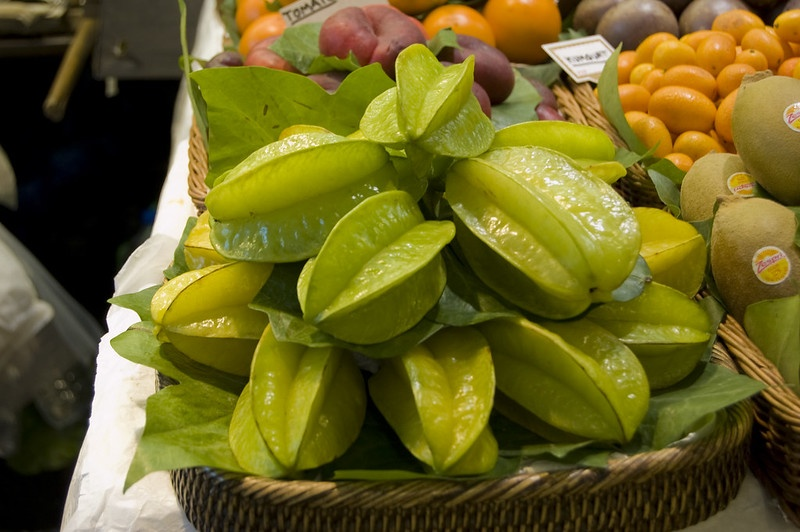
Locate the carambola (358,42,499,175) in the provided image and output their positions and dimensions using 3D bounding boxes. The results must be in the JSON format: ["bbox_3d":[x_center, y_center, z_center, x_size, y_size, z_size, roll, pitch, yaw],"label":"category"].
[{"bbox_3d":[0.045,-0.236,1.180,0.174,0.086,0.225,-21,73,-19],"label":"carambola"}]

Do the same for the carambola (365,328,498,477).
[{"bbox_3d":[0.071,0.203,1.096,0.145,0.063,0.226,-10,67,-2],"label":"carambola"}]

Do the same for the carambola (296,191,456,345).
[{"bbox_3d":[-0.029,0.008,1.141,0.238,0.192,0.107,-16,33,-35],"label":"carambola"}]

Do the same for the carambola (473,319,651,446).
[{"bbox_3d":[0.240,0.161,1.162,0.233,0.168,0.095,29,9,7],"label":"carambola"}]

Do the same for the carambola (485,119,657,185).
[{"bbox_3d":[0.277,-0.204,1.278,0.159,0.062,0.136,7,30,-15],"label":"carambola"}]

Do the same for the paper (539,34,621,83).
[{"bbox_3d":[0.443,-0.513,1.888,0.144,0.022,0.153,-24,66,-24],"label":"paper"}]

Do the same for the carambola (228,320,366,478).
[{"bbox_3d":[-0.159,0.197,1.216,0.160,0.086,0.236,14,77,-11],"label":"carambola"}]
